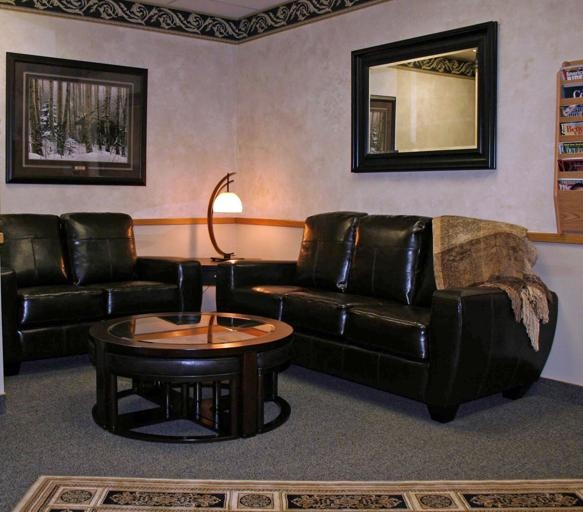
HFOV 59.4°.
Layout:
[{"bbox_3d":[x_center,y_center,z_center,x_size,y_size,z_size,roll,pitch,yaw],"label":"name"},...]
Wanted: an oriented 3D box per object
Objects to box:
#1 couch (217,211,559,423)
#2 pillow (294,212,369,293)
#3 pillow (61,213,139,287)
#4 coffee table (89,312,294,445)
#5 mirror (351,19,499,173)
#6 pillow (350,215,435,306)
[{"bbox_3d":[0.550,0.261,3.293,0.784,1.136,1.886,0,2,-42],"label":"couch"},{"bbox_3d":[0.230,-0.052,3.890,0.510,0.574,0.547,-1,6,-41],"label":"pillow"},{"bbox_3d":[-1.566,-0.037,4.105,0.495,0.482,0.168,-11,-15,-44],"label":"pillow"},{"bbox_3d":[-0.503,0.589,2.570,0.998,0.494,0.755,1,2,0],"label":"coffee table"},{"bbox_3d":[0.995,-1.150,3.684,0.096,0.989,1.309,1,-1,-40],"label":"mirror"},{"bbox_3d":[0.690,0.044,3.407,0.460,0.530,0.280,12,-5,19],"label":"pillow"}]
